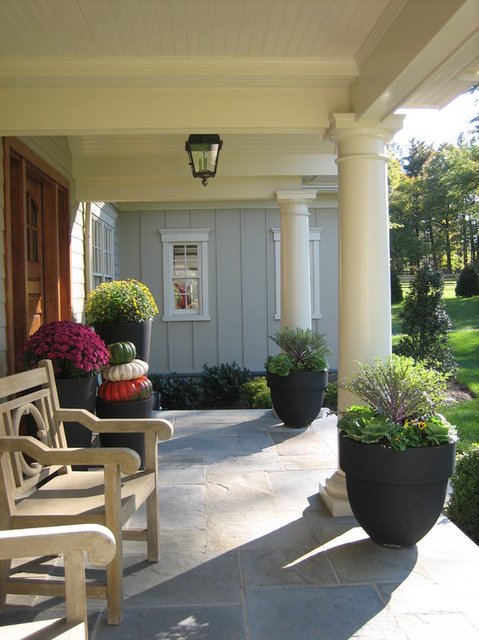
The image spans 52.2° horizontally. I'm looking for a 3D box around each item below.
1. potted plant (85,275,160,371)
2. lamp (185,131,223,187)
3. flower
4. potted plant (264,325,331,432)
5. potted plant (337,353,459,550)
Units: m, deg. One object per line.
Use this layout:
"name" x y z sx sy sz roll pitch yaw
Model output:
"potted plant" -1.059 0.058 5.141 0.895 1.076 0.796 -3 -2 44
"lamp" -0.277 -1.222 3.719 0.374 0.395 0.375 4 15 20
"flower" -1.271 0.258 3.539 0.574 0.402 0.582 1 -20 -14
"potted plant" 0.611 0.615 5.140 0.671 1.046 0.516 -1 -1 -3
"potted plant" 0.747 0.657 2.339 0.540 0.923 0.464 -1 -1 23
